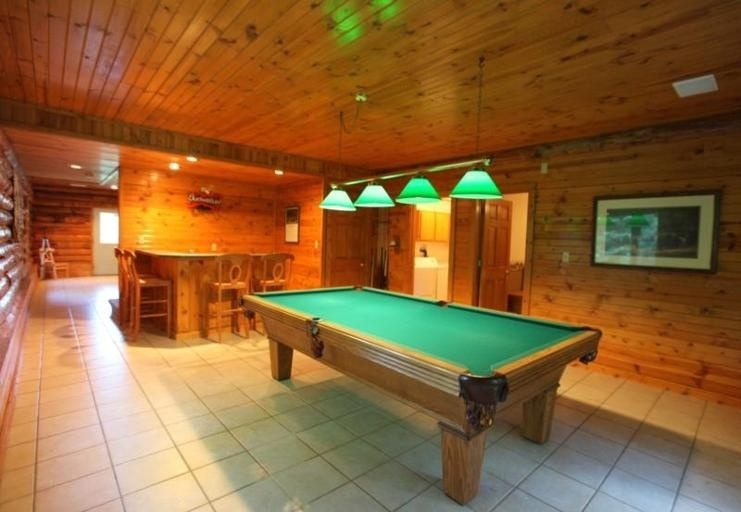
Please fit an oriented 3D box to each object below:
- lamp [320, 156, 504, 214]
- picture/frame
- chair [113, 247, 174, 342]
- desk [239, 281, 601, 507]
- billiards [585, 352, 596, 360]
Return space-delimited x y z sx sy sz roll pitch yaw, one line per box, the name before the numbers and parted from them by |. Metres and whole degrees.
lamp | 0.267 -0.845 5.818 1.706 0.681 2.753 0 12 -5
picture/frame | 3.445 -0.300 5.717 1.282 0.774 0.056 4 2 40
chair | -3.305 0.590 7.057 0.579 0.962 1.483 -3 6 -37
desk | 0.277 1.159 5.121 3.228 1.320 1.832 12 17 42
billiards | 1.976 0.921 4.403 0.093 0.070 0.094 0 -6 -42
